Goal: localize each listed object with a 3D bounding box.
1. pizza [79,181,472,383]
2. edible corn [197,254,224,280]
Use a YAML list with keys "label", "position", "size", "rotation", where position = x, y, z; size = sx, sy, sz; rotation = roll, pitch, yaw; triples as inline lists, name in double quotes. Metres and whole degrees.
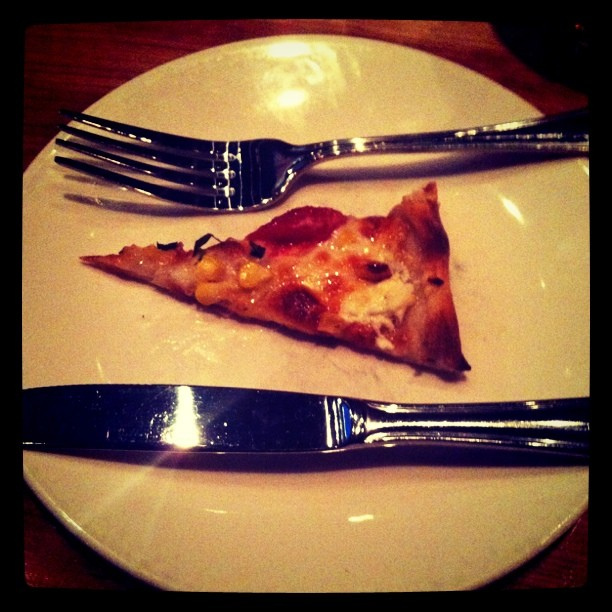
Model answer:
- label: "pizza"
  position: [-0.043, -0.063, 1.102]
  size: [0.494, 0.099, 0.357]
  rotation: [3, 84, 9]
- label: "edible corn"
  position: [-0.150, -0.061, 1.203]
  size: [0.041, 0.009, 0.036]
  rotation: [32, 78, 6]
